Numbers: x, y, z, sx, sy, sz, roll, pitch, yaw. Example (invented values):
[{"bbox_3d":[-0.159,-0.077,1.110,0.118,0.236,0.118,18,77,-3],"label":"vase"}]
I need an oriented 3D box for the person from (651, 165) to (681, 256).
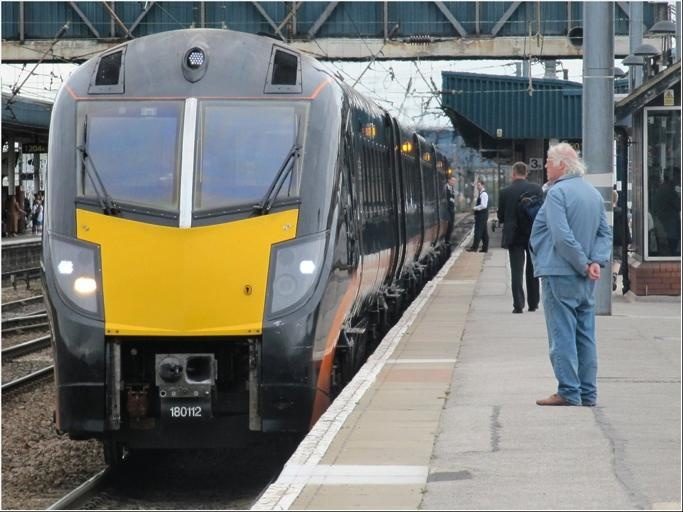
[{"bbox_3d":[5.133,-0.690,16.154,0.430,1.392,0.403,3,7,38],"label":"person"}]

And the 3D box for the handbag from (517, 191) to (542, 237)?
[{"bbox_3d":[2.467,-0.564,13.511,0.318,0.680,0.458,6,18,0],"label":"handbag"}]

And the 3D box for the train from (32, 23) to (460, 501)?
[{"bbox_3d":[-0.918,-0.107,11.335,2.462,4.561,4.588,1,7,22],"label":"train"}]

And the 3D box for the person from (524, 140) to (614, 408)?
[{"bbox_3d":[2.108,0.182,9.486,0.723,2.399,0.477,0,6,11],"label":"person"}]
